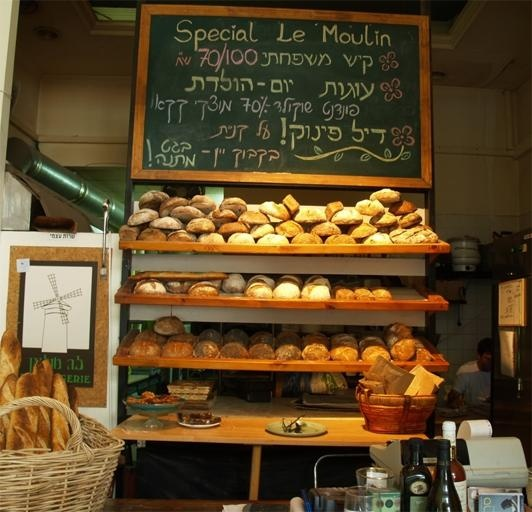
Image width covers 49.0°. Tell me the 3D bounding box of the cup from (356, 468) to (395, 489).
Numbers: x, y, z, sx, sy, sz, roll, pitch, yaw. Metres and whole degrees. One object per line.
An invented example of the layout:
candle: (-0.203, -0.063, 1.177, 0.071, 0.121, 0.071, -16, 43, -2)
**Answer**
cup: (0.300, 0.615, 1.632, 0.070, 0.043, 0.061, 0, -1, 20)

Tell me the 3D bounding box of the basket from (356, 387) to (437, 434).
basket: (0.638, 0.762, 2.883, 0.388, 0.172, 0.354, 4, -14, -16)

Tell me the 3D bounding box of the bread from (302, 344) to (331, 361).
bread: (0.265, 0.498, 3.052, 0.146, 0.086, 0.105, 0, -6, 3)

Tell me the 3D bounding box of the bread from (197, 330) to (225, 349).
bread: (-0.305, 0.454, 3.198, 0.111, 0.093, 0.102, 0, -14, 17)

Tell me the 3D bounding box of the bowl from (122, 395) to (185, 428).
bowl: (-0.543, 0.738, 2.862, 0.218, 0.081, 0.200, 1, -7, 0)

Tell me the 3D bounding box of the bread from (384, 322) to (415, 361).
bread: (0.721, 0.448, 3.083, 0.116, 0.073, 0.217, -2, 20, 4)

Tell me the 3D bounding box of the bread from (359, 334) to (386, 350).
bread: (0.575, 0.459, 3.142, 0.087, 0.071, 0.059, 7, 1, 5)

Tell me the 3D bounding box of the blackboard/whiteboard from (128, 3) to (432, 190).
blackboard/whiteboard: (0.058, -0.897, 3.398, 1.345, 0.726, 0.055, 0, -5, -1)

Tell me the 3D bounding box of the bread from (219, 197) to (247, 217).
bread: (-0.193, -0.279, 3.265, 0.106, 0.060, 0.127, 12, -14, -24)

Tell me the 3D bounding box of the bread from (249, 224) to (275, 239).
bread: (-0.029, -0.138, 3.180, 0.095, 0.028, 0.093, -31, 34, -25)

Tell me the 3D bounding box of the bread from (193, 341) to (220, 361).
bread: (-0.311, 0.488, 3.032, 0.106, 0.065, 0.096, 0, 5, -6)

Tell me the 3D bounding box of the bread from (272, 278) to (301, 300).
bread: (0.110, 0.178, 3.121, 0.111, 0.065, 0.222, -1, 3, 3)

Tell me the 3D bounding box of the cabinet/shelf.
cabinet/shelf: (0.048, 0.462, 3.003, 2.012, 1.560, 0.605, 0, -8, -3)

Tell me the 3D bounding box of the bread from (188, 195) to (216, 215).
bread: (-0.362, -0.282, 3.242, 0.119, 0.060, 0.112, 6, -2, 19)

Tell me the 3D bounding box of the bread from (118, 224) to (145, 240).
bread: (-0.745, -0.133, 3.138, 0.095, 0.043, 0.092, -1, 26, -4)

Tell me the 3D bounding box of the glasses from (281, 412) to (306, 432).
glasses: (0.132, 0.812, 2.834, 0.100, 0.058, 0.093, -2, -3, -35)

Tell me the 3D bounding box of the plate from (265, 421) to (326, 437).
plate: (0.148, 0.827, 2.822, 0.303, 0.051, 0.251, 1, -6, -5)

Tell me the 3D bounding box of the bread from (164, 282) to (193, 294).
bread: (-0.480, 0.175, 3.150, 0.105, 0.066, 0.029, 2, 24, -7)

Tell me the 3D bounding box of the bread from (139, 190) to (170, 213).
bread: (-0.643, -0.311, 3.291, 0.142, 0.064, 0.141, -2, 0, 43)

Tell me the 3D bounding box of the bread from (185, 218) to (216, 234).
bread: (-0.357, -0.161, 3.145, 0.097, 0.054, 0.114, -1, -9, -1)

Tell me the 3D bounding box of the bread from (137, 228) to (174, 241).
bread: (-0.608, -0.111, 3.111, 0.094, 0.028, 0.092, 2, 27, 0)

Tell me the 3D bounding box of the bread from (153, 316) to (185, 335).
bread: (-0.537, 0.367, 3.214, 0.122, 0.039, 0.116, 4, 8, -2)

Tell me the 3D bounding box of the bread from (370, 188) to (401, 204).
bread: (0.667, -0.321, 3.243, 0.112, 0.031, 0.103, 2, -6, -15)

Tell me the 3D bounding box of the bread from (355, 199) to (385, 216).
bread: (0.576, -0.264, 3.213, 0.117, 0.037, 0.105, -1, 30, 1)

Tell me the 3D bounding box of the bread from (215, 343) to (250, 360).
bread: (-0.173, 0.494, 3.043, 0.101, 0.049, 0.092, 2, 8, 1)

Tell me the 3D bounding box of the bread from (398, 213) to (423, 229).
bread: (0.792, -0.191, 3.195, 0.101, 0.044, 0.099, -11, 10, 42)

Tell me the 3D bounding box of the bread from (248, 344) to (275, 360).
bread: (-0.026, 0.499, 3.047, 0.096, 0.041, 0.087, -2, 12, -8)

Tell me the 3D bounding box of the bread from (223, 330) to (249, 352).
bread: (-0.161, 0.457, 3.132, 0.098, 0.075, 0.116, -1, 5, -2)

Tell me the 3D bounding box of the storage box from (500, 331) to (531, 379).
storage box: (1.689, 0.655, 3.901, 0.125, 0.314, 0.359, 1, -10, 6)

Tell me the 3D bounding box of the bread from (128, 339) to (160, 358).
bread: (-0.634, 0.479, 3.044, 0.157, 0.086, 0.132, 2, -6, -10)

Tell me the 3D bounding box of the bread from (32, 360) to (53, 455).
bread: (-0.752, 0.514, 1.942, 0.052, 0.248, 0.070, -3, -10, 2)

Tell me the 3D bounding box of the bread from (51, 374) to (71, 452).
bread: (-0.702, 0.547, 1.979, 0.074, 0.288, 0.082, -6, -11, -4)
